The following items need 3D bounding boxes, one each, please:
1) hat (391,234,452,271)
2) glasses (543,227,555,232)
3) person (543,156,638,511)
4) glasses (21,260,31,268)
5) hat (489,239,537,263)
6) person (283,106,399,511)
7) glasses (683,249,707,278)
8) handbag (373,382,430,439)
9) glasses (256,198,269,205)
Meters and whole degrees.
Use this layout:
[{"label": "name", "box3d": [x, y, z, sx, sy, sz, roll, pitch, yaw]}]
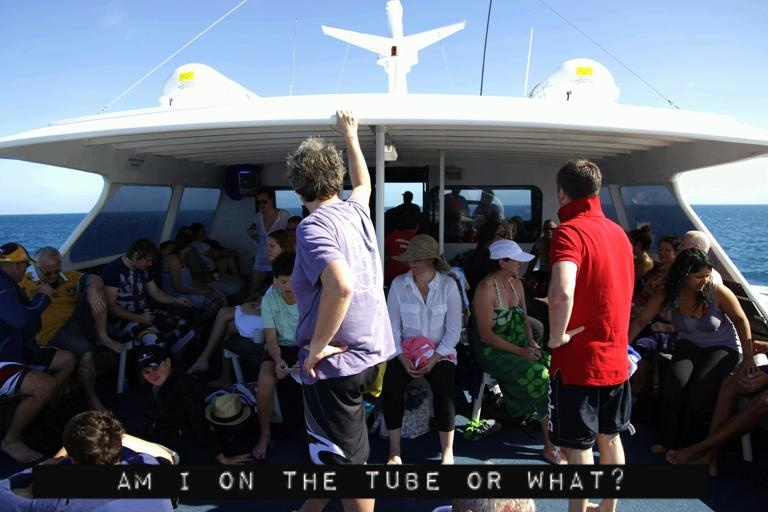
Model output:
[{"label": "hat", "box3d": [0.378, -0.025, 4.645, 0.439, 0.240, 0.344, 6, -3, -4]}, {"label": "glasses", "box3d": [2.229, -0.358, 6.775, 0.110, 0.036, 0.103, -4, 1, -42]}, {"label": "person", "box3d": [1.505, 0.422, 3.626, 0.666, 2.013, 0.417, 3, -1, 9]}, {"label": "glasses", "box3d": [-3.441, 0.083, 4.848, 0.070, 0.070, 0.054, -11, 5, -2]}, {"label": "hat", "box3d": [1.154, -0.051, 4.596, 0.312, 0.145, 0.211, 4, 13, 9]}, {"label": "person", "box3d": [-0.338, 0.269, 3.455, 0.570, 2.520, 0.646, 3, -1, 36]}, {"label": "glasses", "box3d": [2.688, 0.058, 4.331, 0.154, 0.204, 0.213, 6, 26, 8]}, {"label": "handbag", "box3d": [0.236, 1.559, 4.822, 0.215, 0.524, 0.598, -14, -24, 35]}, {"label": "glasses", "box3d": [-1.722, -0.775, 7.161, 0.160, 0.097, 0.093, 4, 0, 4]}]
